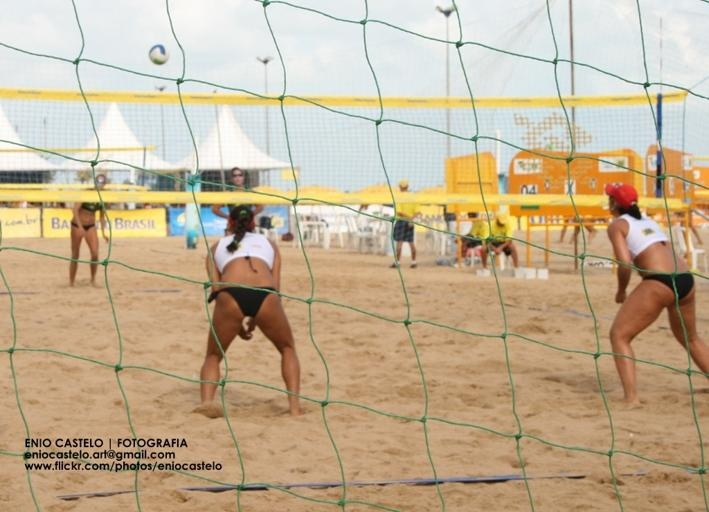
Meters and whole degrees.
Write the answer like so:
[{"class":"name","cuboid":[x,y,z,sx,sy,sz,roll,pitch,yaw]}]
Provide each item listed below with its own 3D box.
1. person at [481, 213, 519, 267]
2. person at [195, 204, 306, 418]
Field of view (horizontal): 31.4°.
[{"class":"person","cuboid":[1.980,-0.166,16.971,0.522,0.755,0.490,-4,-4,22]},{"class":"person","cuboid":[-0.924,0.482,11.090,0.904,1.834,0.633,0,5,-4]}]
